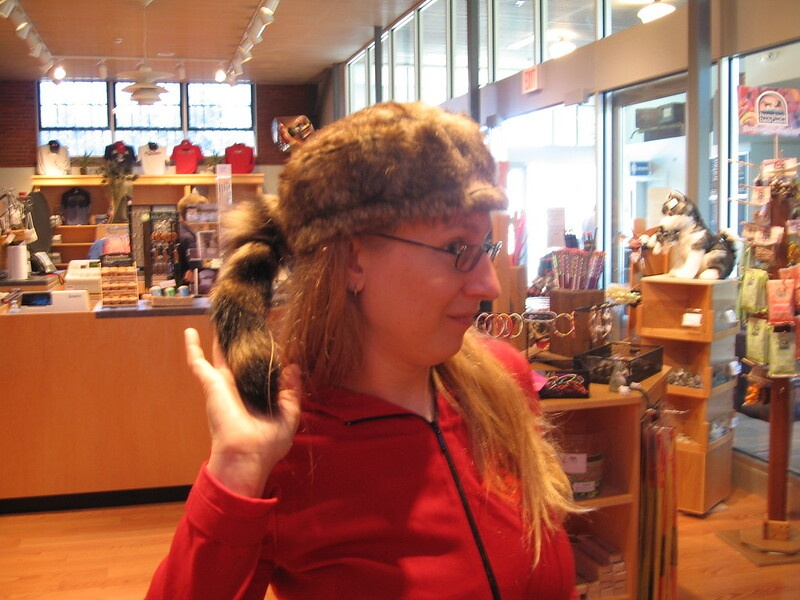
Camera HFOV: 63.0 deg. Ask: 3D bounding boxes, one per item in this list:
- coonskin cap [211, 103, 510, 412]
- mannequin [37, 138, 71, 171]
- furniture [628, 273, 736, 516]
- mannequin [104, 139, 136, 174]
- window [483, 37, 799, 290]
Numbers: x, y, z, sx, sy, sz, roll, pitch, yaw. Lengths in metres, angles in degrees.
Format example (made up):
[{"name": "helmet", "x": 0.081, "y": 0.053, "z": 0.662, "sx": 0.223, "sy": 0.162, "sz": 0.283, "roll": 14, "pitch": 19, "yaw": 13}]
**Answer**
[{"name": "coonskin cap", "x": -0.107, "y": -0.124, "z": 1.540, "sx": 0.666, "sy": 0.661, "sz": 0.289, "roll": -5, "pitch": 11, "yaw": -18}, {"name": "mannequin", "x": -5.922, "y": -2.412, "z": 11.238, "sx": 0.478, "sy": 0.640, "sz": 0.654, "roll": 3, "pitch": 7, "yaw": -14}, {"name": "furniture", "x": 1.930, "y": 0.595, "z": 4.206, "sx": 0.741, "sy": 1.529, "sz": 0.429, "roll": -4, "pitch": 11, "yaw": -16}, {"name": "mannequin", "x": -4.692, "y": -2.424, "z": 10.946, "sx": 0.470, "sy": 0.614, "sz": 2.280, "roll": -6, "pitch": 11, "yaw": -24}, {"name": "window", "x": 1.738, "y": -0.976, "z": 4.503, "sx": 0.134, "sy": 1.744, "sz": 2.528, "roll": 0, "pitch": 1, "yaw": -24}]
